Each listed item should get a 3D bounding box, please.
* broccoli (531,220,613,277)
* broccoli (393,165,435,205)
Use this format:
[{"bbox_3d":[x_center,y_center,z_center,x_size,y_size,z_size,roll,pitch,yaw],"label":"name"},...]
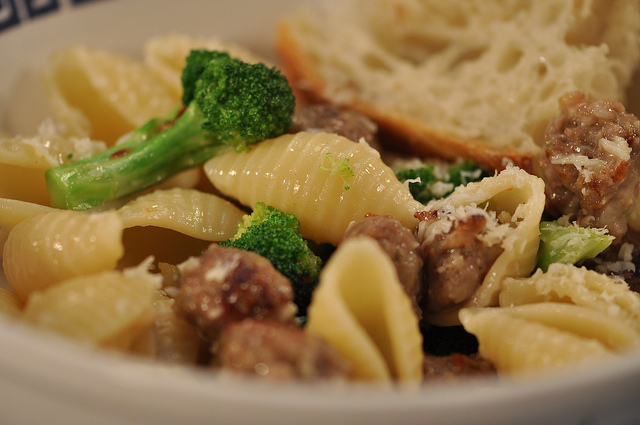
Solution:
[{"bbox_3d":[0.717,0.104,1.769,0.176,0.070,0.144,-5,38,27],"label":"broccoli"},{"bbox_3d":[0.325,-0.100,2.102,0.101,0.067,0.141,8,14,10],"label":"broccoli"}]
